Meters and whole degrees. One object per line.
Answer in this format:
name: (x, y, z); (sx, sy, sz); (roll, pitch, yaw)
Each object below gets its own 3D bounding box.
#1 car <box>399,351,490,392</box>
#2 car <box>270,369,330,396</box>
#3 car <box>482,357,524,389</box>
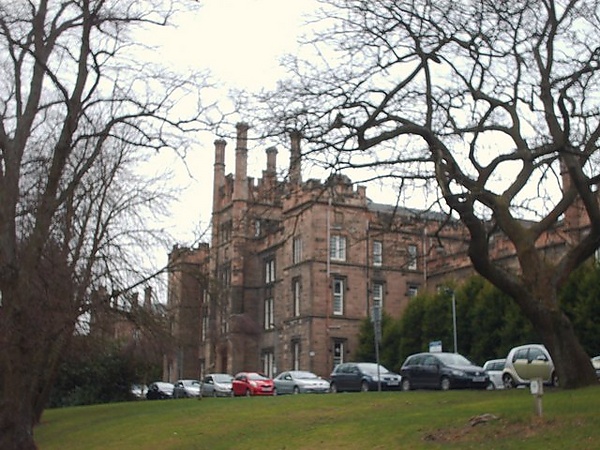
car: (6.202, 6.033, 41.455); (2.469, 1.896, 2.405); (0, -11, -20)
car: (-0.070, 7.901, 51.242); (3.189, 1.505, 2.174); (2, -12, -5)
car: (8.937, 6.618, 45.319); (1.030, 1.166, 1.891); (10, -25, -28)
